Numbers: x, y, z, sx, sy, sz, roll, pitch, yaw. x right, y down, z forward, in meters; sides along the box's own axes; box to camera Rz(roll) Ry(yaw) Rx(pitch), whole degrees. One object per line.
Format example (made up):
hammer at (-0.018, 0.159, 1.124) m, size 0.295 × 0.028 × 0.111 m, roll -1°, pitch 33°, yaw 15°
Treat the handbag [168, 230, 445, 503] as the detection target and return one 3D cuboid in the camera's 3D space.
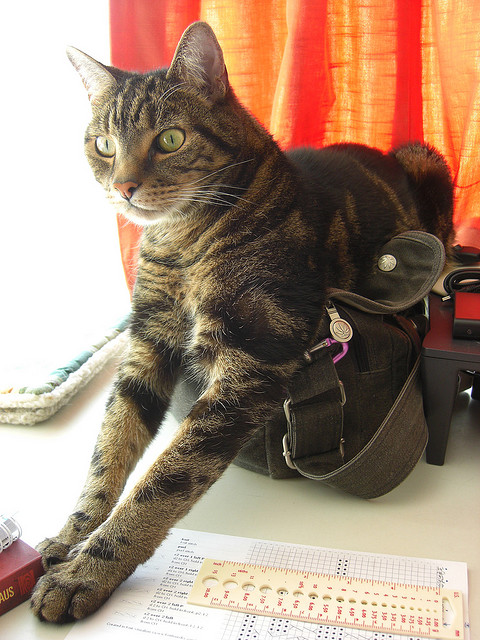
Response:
handbag at (0.155, 0.061, 0.751) m, size 0.309 × 0.304 × 0.183 m, roll -13°, pitch 21°, yaw -28°
